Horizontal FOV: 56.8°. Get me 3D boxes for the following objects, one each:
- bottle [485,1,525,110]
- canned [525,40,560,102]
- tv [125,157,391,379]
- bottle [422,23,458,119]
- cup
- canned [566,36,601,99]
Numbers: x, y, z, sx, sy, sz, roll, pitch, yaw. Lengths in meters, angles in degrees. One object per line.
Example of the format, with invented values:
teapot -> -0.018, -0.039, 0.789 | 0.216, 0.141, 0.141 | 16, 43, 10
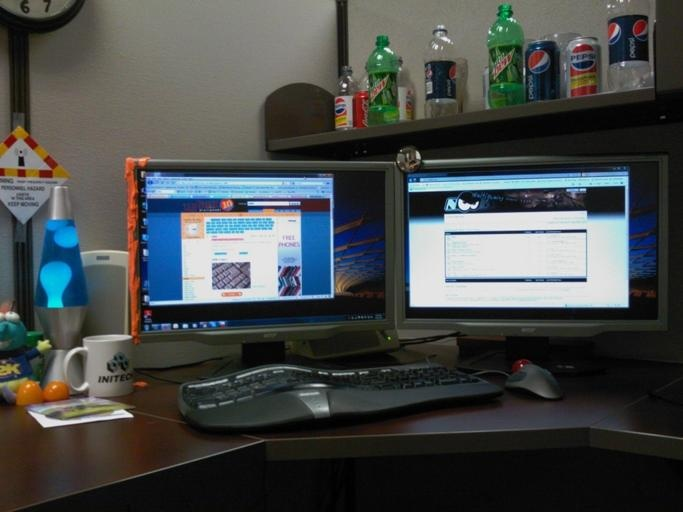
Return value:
bottle -> 0.406, -0.487, 1.552 | 0.090, 0.256, 0.152 | 2, 8, 13
canned -> 0.472, -0.431, 1.489 | 0.077, 0.138, 0.043 | 2, 8, 14
tv -> -0.194, 0.014, 1.455 | 0.528, 0.377, 0.136 | -1, 3, -14
bottle -> 0.273, -0.504, 1.719 | 0.095, 0.279, 0.353 | 1, 8, 8
cup -> -0.502, 0.228, 1.333 | 0.152, 0.114, 0.096 | -2, 2, -42
canned -> 0.556, -0.429, 1.446 | 0.073, 0.130, 0.054 | 2, 9, 18
